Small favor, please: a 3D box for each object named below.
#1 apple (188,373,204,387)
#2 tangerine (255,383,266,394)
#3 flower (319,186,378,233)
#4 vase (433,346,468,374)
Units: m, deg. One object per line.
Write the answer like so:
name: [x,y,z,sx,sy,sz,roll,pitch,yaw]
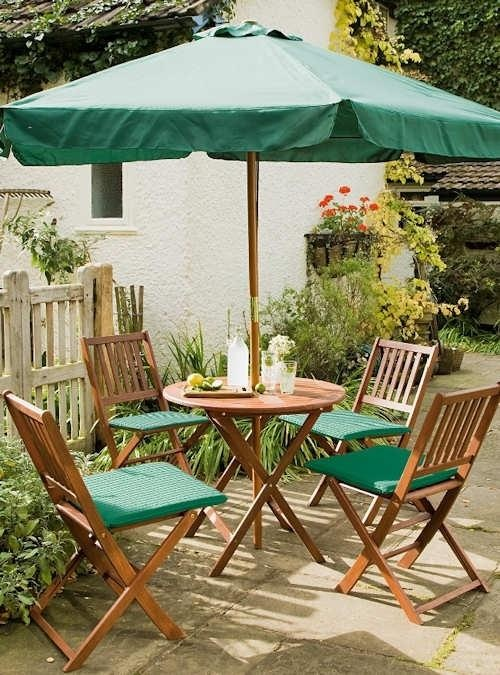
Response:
apple: [-0.301,0.221,3.410,0.086,0.086,0.081,0,-5,6]
tangerine: [0.057,0.267,3.407,0.056,0.046,0.049,0,-2,4]
flower: [1.036,-1.446,7.260,0.624,0.490,0.585,-6,17,-24]
vase: [2.789,0.309,8.986,0.434,0.356,0.394,0,1,7]
